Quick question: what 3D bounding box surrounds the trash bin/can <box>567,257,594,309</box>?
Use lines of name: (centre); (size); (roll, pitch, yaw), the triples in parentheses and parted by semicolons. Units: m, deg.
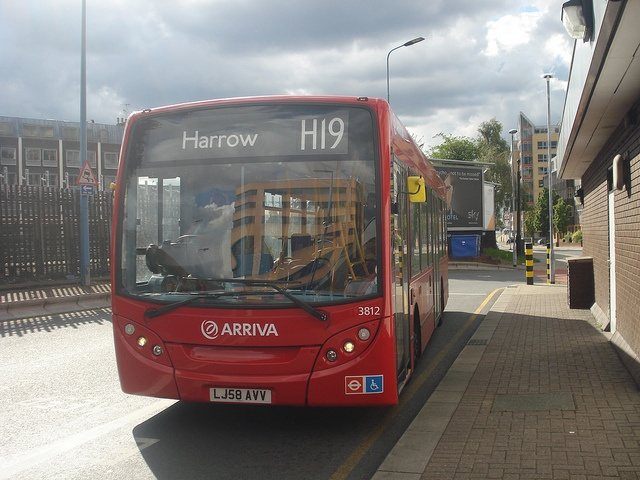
trash bin/can: (6.883, 1.133, 14.570); (0.751, 1.324, 0.945); (0, -4, 12)
